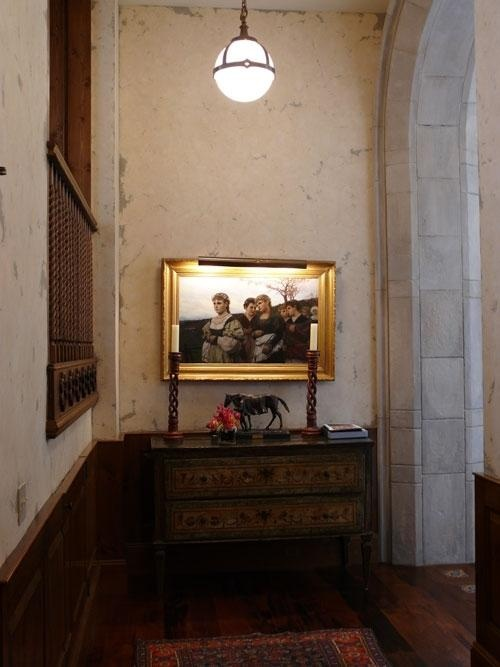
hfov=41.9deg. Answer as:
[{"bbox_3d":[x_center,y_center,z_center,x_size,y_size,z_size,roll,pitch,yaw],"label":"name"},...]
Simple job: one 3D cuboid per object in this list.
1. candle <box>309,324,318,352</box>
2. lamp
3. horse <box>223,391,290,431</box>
[{"bbox_3d":[0.391,0.027,4.045,0.041,0.161,0.040,0,0,-2],"label":"candle"},{"bbox_3d":[-0.031,-1.398,3.172,0.286,0.479,0.306,0,0,-4],"label":"lamp"},{"bbox_3d":[0.024,0.491,4.090,0.440,0.350,0.201,0,-7,-4],"label":"horse"}]
